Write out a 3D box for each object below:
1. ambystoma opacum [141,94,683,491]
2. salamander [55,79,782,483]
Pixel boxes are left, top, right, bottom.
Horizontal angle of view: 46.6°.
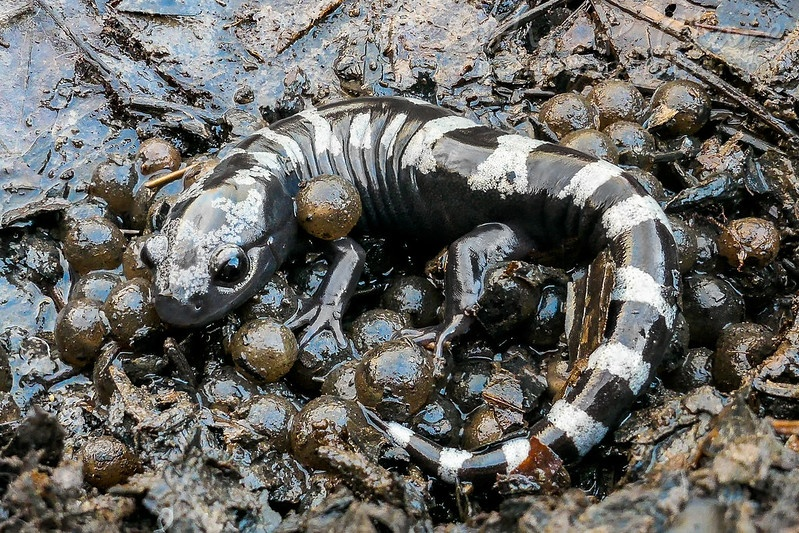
[{"bbox_3d":[0.064,0.151,9.610,5.325,1.159,4.245,23,68,24],"label":"ambystoma opacum"},{"bbox_3d":[0.373,-0.154,9.477,5.010,1.916,3.814,28,83,7],"label":"salamander"}]
